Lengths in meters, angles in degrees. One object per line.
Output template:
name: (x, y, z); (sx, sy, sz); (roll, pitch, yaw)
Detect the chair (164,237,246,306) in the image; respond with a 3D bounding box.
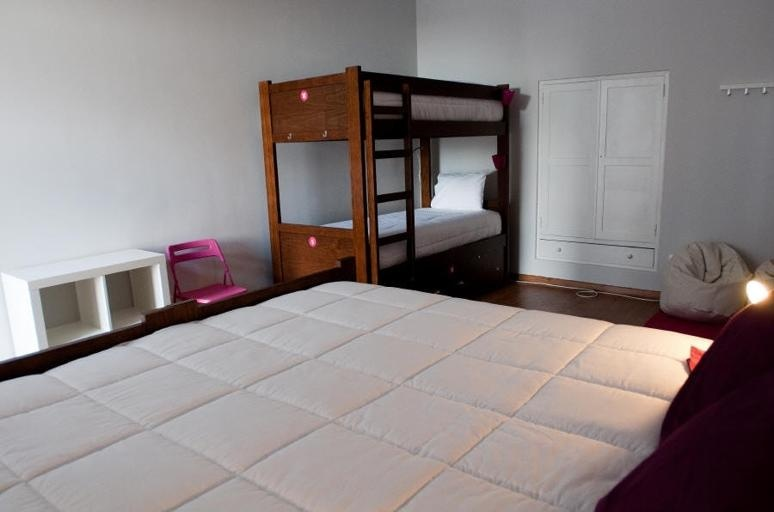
chair: (-1.478, 0.249, 4.172); (0.585, 0.688, 0.544); (-8, 20, -38)

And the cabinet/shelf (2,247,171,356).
cabinet/shelf: (-2.018, 0.289, 3.301); (0.347, 0.444, 0.691); (8, 12, 38)

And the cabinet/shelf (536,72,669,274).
cabinet/shelf: (2.114, -0.829, 5.072); (1.199, 1.870, 0.410); (4, 18, 23)

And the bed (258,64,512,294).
bed: (0.183, -0.708, 4.991); (1.313, 1.983, 2.277); (10, 18, 42)
